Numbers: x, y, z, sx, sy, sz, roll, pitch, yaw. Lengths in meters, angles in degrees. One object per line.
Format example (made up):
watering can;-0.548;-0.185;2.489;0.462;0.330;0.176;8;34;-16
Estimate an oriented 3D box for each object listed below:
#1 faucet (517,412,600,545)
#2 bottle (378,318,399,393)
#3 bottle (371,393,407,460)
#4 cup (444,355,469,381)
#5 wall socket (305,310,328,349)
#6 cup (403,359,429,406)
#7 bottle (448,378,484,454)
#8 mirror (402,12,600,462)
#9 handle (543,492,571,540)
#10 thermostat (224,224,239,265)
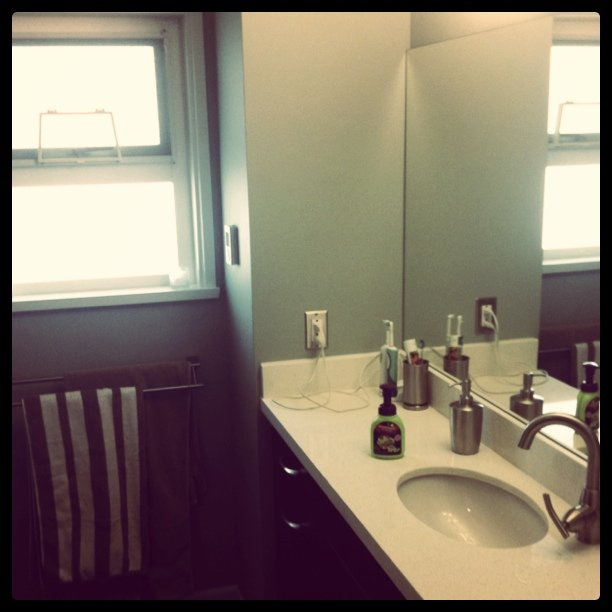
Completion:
faucet;0.460;0.298;1.052;0.178;0.241;0.105;-4;11;-18
bottle;0.251;0.139;1.784;0.052;0.200;0.076;1;10;9
bottle;0.193;0.272;1.398;0.079;0.199;0.046;1;25;14
cup;0.414;0.168;1.626;0.038;0.048;0.056;-3;6;-10
wall socket;0.028;0.068;1.862;0.087;0.168;0.016;-4;8;-24
cup;0.322;0.220;1.730;0.075;0.148;0.080;-3;16;1
bottle;0.389;0.262;1.426;0.077;0.185;0.080;4;-19;2
mirror;0.454;-0.244;1.478;0.070;0.944;0.899;-3;11;-14
handle;0.465;0.392;1.093;0.014;0.101;0.020;-19;1;-29
thermostat;-0.264;-0.218;2.048;0.021;0.138;0.163;-4;10;-17
